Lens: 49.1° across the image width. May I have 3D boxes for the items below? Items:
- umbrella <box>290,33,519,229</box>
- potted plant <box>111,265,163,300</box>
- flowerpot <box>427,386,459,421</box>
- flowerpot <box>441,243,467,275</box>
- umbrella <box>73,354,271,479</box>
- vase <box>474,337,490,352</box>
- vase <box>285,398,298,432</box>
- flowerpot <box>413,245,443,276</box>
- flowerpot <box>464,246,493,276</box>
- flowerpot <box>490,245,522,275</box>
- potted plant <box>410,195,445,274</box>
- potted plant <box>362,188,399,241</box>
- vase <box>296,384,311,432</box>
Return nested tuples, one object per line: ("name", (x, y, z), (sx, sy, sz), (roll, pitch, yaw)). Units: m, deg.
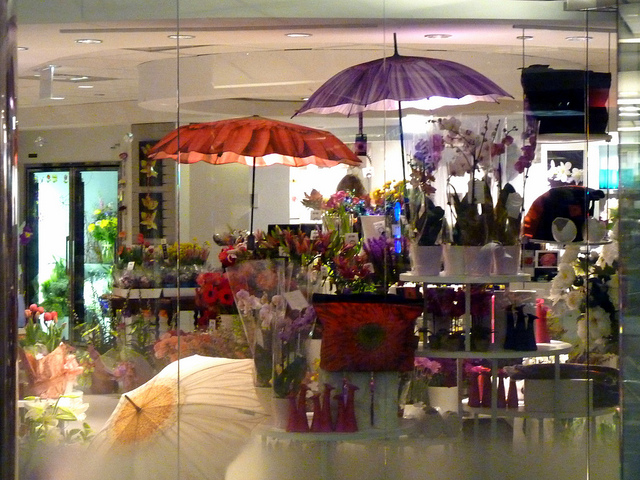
("umbrella", (0.429, -0.653, 4.240), (1.106, 0.970, 1.048), (-3, 3, -3))
("potted plant", (-0.971, 0.248, 4.030), (0.407, 0.204, 0.419), (0, -2, -2))
("flowerpot", (0.698, 0.876, 3.804), (0.142, 0.149, 0.151), (1, -8, -30))
("flowerpot", (0.713, 0.105, 3.714), (0.132, 0.145, 0.142), (2, 4, 18))
("umbrella", (-0.770, 0.927, 3.853), (0.754, 0.765, 0.379), (37, 9, 30))
("vase", (0.868, 0.559, 3.752), (0.072, 0.081, 0.072), (1, 2, 0))
("vase", (-0.152, 0.921, 3.687), (0.062, 0.184, 0.031), (-1, -1, -1))
("flowerpot", (0.567, 0.111, 3.708), (0.159, 0.122, 0.145), (-1, -6, 13))
("flowerpot", (0.837, 0.117, 3.729), (0.148, 0.159, 0.154), (3, -7, -11))
("flowerpot", (0.989, 0.107, 3.735), (0.159, 0.132, 0.144), (0, -5, 6))
("potted plant", (0.578, 0.004, 3.706), (0.196, 0.371, 0.174), (-3, 37, -1))
("potted plant", (0.297, -0.130, 3.652), (0.185, 0.255, 0.083), (5, -3, 13))
("vase", (-0.089, 0.891, 3.714), (0.100, 0.256, 0.087), (-1, -14, -1))
